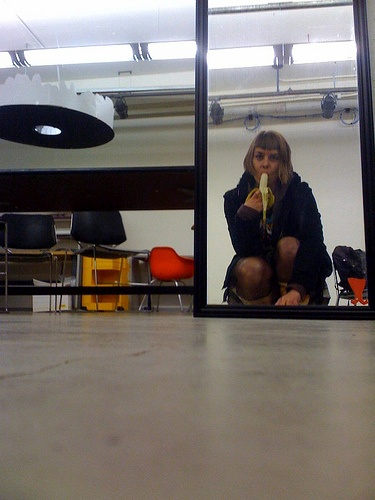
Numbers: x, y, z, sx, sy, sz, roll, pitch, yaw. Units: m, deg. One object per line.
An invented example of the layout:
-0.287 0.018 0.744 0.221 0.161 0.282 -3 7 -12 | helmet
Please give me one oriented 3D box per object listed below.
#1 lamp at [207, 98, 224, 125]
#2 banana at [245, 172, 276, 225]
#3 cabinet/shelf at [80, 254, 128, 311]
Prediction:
0.089 -0.426 1.452 0.060 0.120 0.054 0 0 0 | lamp
0.239 -0.165 1.486 0.066 0.159 0.048 3 -6 4 | banana
-0.697 0.274 3.892 0.365 0.745 0.314 0 -4 -3 | cabinet/shelf
